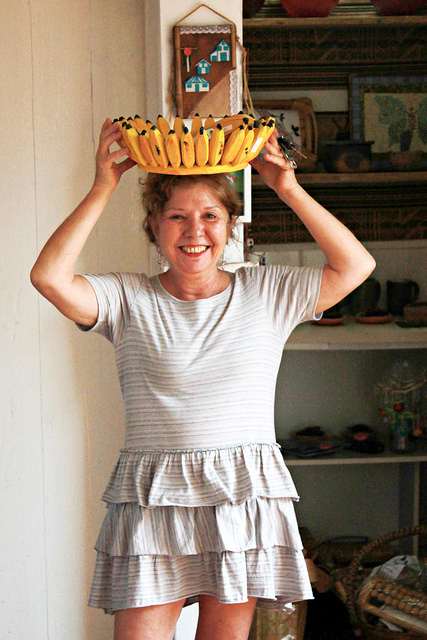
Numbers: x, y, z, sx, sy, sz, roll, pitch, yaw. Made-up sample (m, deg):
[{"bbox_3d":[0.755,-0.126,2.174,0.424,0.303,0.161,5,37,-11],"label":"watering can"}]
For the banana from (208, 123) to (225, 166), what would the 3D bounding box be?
[{"bbox_3d":[0.005,-0.354,1.568,0.029,0.073,0.023,13,17,6],"label":"banana"}]

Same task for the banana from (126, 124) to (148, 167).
[{"bbox_3d":[-0.161,-0.365,1.598,0.033,0.080,0.023,-4,32,7],"label":"banana"}]

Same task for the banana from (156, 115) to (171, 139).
[{"bbox_3d":[-0.108,-0.408,1.624,0.025,0.025,0.072,-22,43,-8],"label":"banana"}]

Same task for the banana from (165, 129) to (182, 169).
[{"bbox_3d":[-0.075,-0.349,1.566,0.027,0.071,0.023,-14,22,6],"label":"banana"}]

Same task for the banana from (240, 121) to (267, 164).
[{"bbox_3d":[0.092,-0.376,1.616,0.030,0.100,0.039,35,22,22],"label":"banana"}]

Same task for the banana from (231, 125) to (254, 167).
[{"bbox_3d":[0.063,-0.362,1.607,0.029,0.084,0.030,13,30,-25],"label":"banana"}]

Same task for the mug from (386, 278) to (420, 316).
[{"bbox_3d":[0.938,-0.120,3.907,0.236,0.180,0.132,0,4,-3],"label":"mug"}]

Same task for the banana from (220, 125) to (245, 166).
[{"bbox_3d":[0.040,-0.359,1.587,0.032,0.087,0.031,30,34,-1],"label":"banana"}]

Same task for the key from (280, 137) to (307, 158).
[{"bbox_3d":[0.181,-0.382,1.727,0.082,0.013,0.018,29,33,-10],"label":"key"}]

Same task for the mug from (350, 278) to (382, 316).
[{"bbox_3d":[0.766,-0.112,3.836,0.167,0.176,0.154,-3,3,9],"label":"mug"}]

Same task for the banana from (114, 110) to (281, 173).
[{"bbox_3d":[-0.031,-0.379,1.626,0.348,0.133,0.191,-3,2,-9],"label":"banana"}]

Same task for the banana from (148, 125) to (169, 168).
[{"bbox_3d":[-0.111,-0.355,1.573,0.034,0.079,0.027,-3,26,8],"label":"banana"}]

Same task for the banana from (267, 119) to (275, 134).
[{"bbox_3d":[0.123,-0.418,1.635,0.008,0.025,0.048,-3,2,15],"label":"banana"}]

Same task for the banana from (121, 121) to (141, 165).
[{"bbox_3d":[-0.164,-0.369,1.625,0.043,0.103,0.021,2,37,20],"label":"banana"}]

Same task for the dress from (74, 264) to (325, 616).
[{"bbox_3d":[-0.006,0.250,1.654,0.574,0.727,0.254,-4,3,-9],"label":"dress"}]

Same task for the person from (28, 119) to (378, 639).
[{"bbox_3d":[-0.009,0.127,1.672,0.724,1.121,0.301,-4,3,-11],"label":"person"}]

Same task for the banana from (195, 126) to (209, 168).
[{"bbox_3d":[-0.022,-0.349,1.566,0.026,0.069,0.018,2,34,-2],"label":"banana"}]

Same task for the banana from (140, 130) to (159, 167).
[{"bbox_3d":[-0.133,-0.356,1.591,0.031,0.073,0.022,-6,27,4],"label":"banana"}]
